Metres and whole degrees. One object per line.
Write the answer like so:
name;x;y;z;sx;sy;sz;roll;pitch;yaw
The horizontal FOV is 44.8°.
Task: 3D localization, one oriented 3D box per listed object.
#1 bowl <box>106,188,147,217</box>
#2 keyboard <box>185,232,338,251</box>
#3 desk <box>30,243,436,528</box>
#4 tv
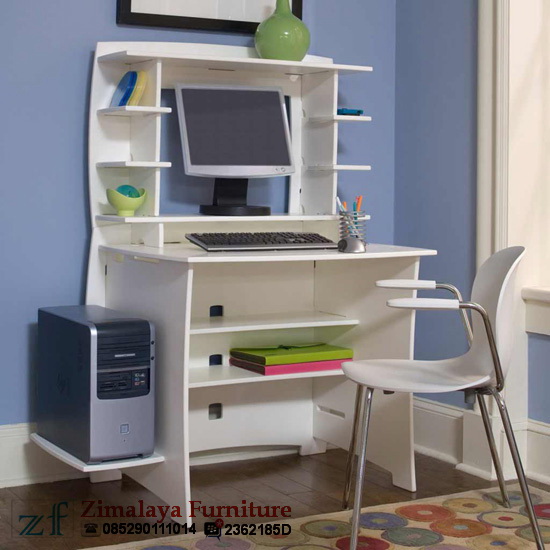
bowl;-0.496;-0.231;2.236;0.105;0.078;0.101;2;3;0
keyboard;-0.047;-0.107;2.174;0.488;0.071;0.263;-1;1;-36
desk;-0.064;0.270;2.394;1.466;1.047;0.795;0;0;-26
tv;-0.139;-0.458;2.419;0.435;0.477;0.207;-5;9;-26
